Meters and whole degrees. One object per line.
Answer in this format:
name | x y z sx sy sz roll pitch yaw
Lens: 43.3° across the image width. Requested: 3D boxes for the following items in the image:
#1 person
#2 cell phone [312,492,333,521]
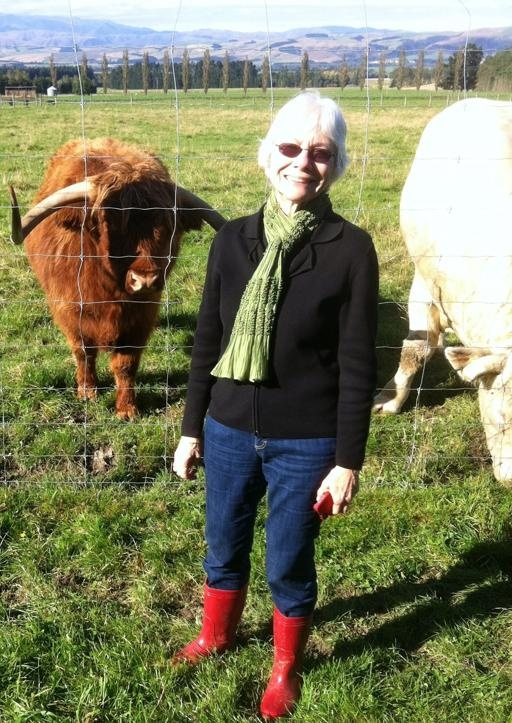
person | 0.033 0.328 2.104 0.644 1.738 0.362 19 24 41
cell phone | 0.194 0.430 1.928 0.034 0.050 0.088 -5 43 47
